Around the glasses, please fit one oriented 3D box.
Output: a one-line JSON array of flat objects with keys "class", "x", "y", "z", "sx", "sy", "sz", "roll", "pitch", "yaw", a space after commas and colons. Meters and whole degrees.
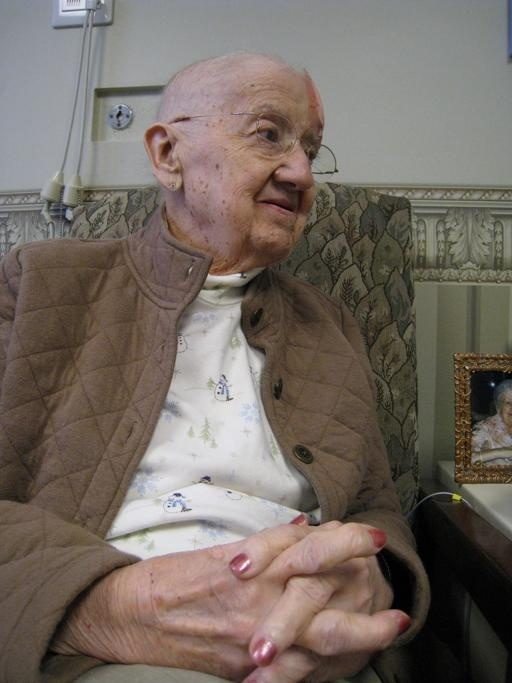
[{"class": "glasses", "x": 0.030, "y": -0.288, "z": 0.863, "sx": 0.143, "sy": 0.038, "sz": 0.136, "roll": 5, "pitch": -9, "yaw": 36}]
